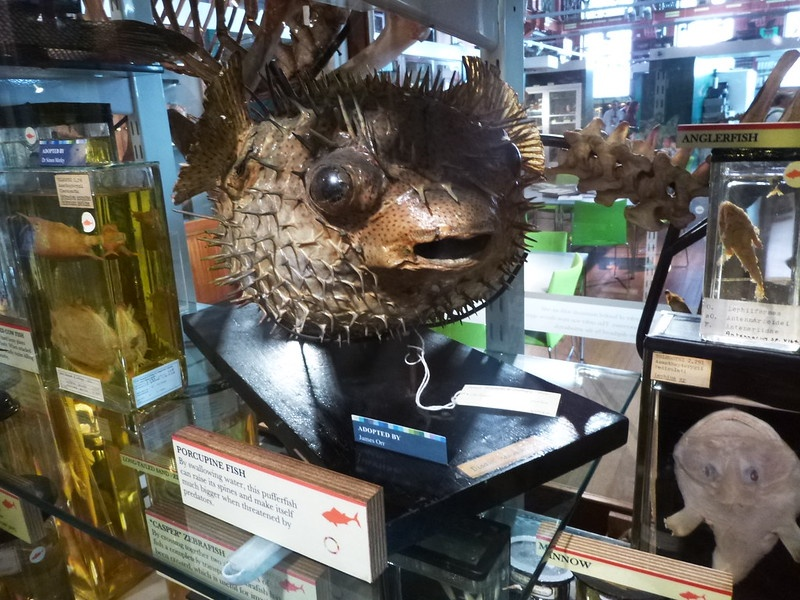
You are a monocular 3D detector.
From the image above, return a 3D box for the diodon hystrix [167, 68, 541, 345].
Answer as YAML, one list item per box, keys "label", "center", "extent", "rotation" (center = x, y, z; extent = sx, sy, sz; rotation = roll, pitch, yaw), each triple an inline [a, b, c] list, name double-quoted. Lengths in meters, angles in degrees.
- label: "diodon hystrix"
  center: [-0.085, -0.220, 1.014]
  extent: [0.511, 0.391, 0.684]
  rotation: [-10, 33, -20]

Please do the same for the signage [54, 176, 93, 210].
- label: "signage"
  center: [-0.450, -0.151, 0.865]
  extent: [0.069, 0.049, 0.013]
  rotation: [11, 21, 28]

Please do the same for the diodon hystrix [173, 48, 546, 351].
- label: "diodon hystrix"
  center: [-0.102, -0.161, 0.900]
  extent: [0.497, 0.268, 0.361]
  rotation: [19, 25, 41]
